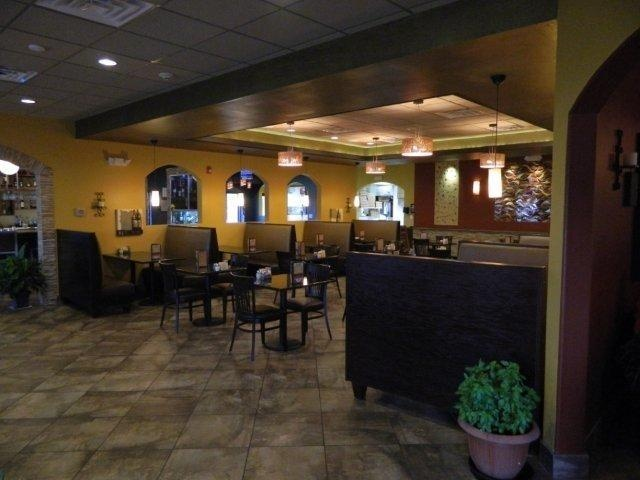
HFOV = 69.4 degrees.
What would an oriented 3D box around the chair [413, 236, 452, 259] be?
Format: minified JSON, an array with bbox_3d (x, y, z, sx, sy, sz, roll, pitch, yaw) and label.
[{"bbox_3d":[2.672,0.171,10.869,0.882,0.516,0.890,6,9,42],"label":"chair"}]

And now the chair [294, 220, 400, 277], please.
[{"bbox_3d":[0.513,0.127,9.294,1.358,0.874,0.699,5,12,31],"label":"chair"}]

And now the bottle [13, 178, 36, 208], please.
[{"bbox_3d":[-8.073,-1.272,12.623,0.490,0.833,0.329,-4,5,-41],"label":"bottle"}]
